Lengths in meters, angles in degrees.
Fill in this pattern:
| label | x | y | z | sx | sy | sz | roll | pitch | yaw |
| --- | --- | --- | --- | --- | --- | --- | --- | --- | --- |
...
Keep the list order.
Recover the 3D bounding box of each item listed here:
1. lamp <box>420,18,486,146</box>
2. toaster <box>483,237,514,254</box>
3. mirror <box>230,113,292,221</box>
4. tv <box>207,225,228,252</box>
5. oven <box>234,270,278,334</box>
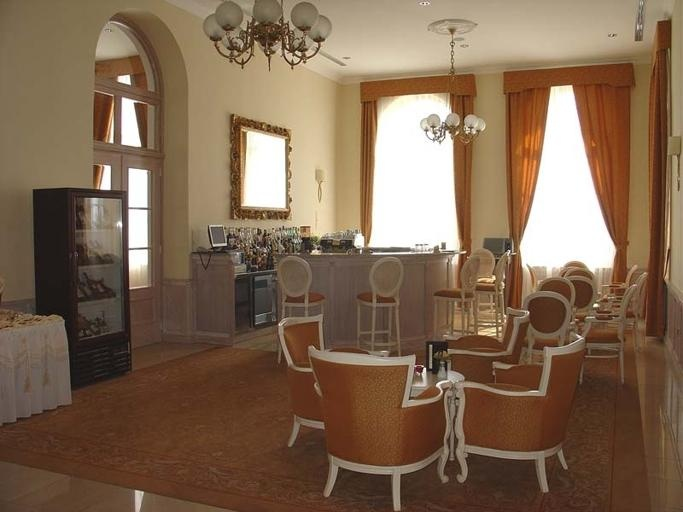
| label | x | y | z | sx | sy | sz | roll | pitch | yaw |
| --- | --- | --- | --- | --- | --- | --- | --- | --- | --- |
| lamp | 2.111 | -3.033 | 9.827 | 1.332 | 1.913 | 3.042 | 2 | 6 | 15 |
| toaster | 3.070 | -0.212 | 10.075 | 0.449 | 0.351 | 0.335 | 2 | 3 | 27 |
| mirror | -1.465 | -1.572 | 8.991 | 0.115 | 2.058 | 1.888 | 1 | 3 | 23 |
| tv | -1.875 | -0.253 | 7.651 | 0.130 | 0.459 | 0.365 | -9 | -7 | 28 |
| oven | -1.444 | 0.691 | 8.266 | 0.432 | 0.912 | 0.910 | 7 | 9 | 36 |
